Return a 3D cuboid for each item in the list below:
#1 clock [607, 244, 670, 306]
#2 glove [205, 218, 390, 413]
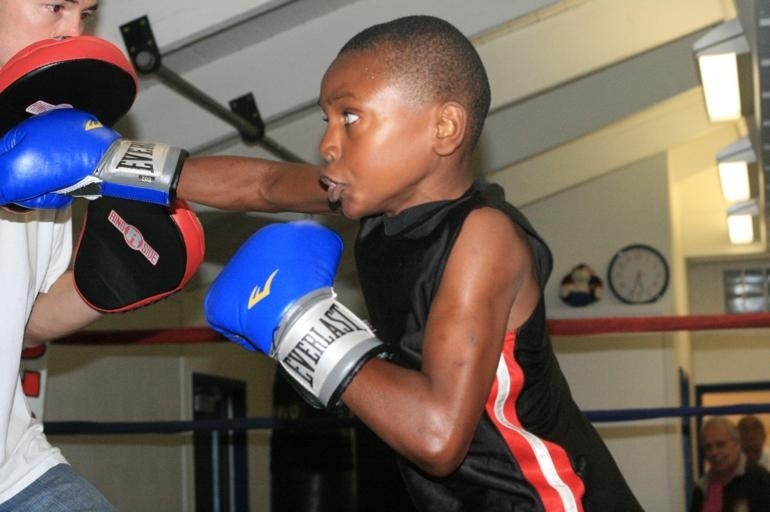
[{"bbox_3d":[1.848,0.149,5.353,0.431,0.434,0.103,-3,-3,23],"label":"clock"},{"bbox_3d":[-0.272,0.193,2.270,0.507,0.673,0.220,-28,-28,-7],"label":"glove"}]
